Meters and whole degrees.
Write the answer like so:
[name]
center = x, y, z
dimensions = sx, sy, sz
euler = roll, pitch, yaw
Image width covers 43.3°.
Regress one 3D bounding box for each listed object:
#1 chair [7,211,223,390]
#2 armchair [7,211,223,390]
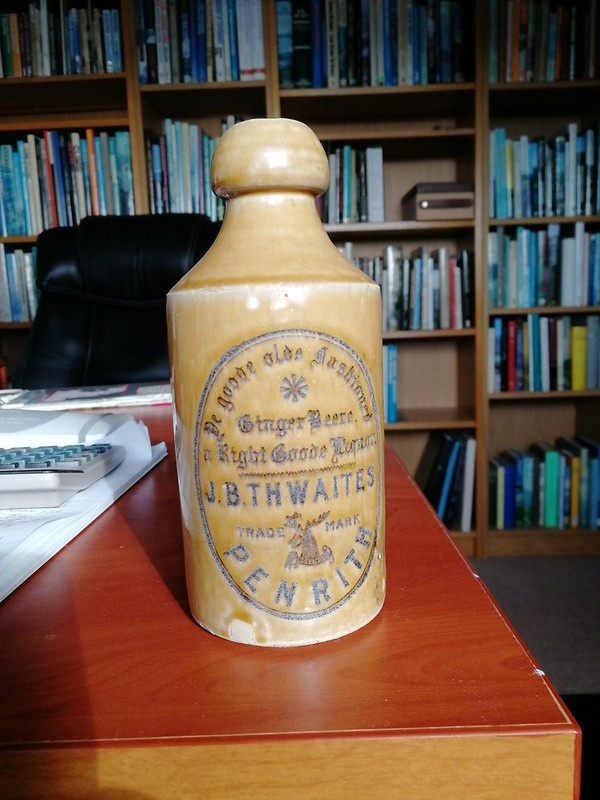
[chair]
center = -0.319, -0.200, 1.661
dimensions = 0.358, 0.477, 0.428
euler = 0, 0, -1
[armchair]
center = -0.323, -0.195, 1.672
dimensions = 0.358, 0.477, 0.428
euler = 0, 0, -1
